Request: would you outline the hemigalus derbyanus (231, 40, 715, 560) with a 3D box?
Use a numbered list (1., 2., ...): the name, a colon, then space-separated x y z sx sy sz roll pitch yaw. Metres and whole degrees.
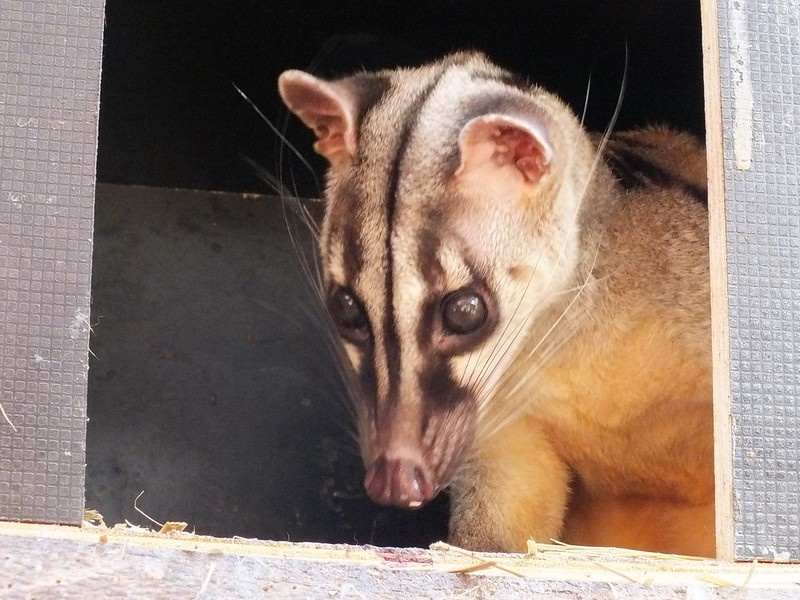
1. hemigalus derbyanus: 0.361 0.035 3.836 0.962 1.533 0.642 3 13 18
